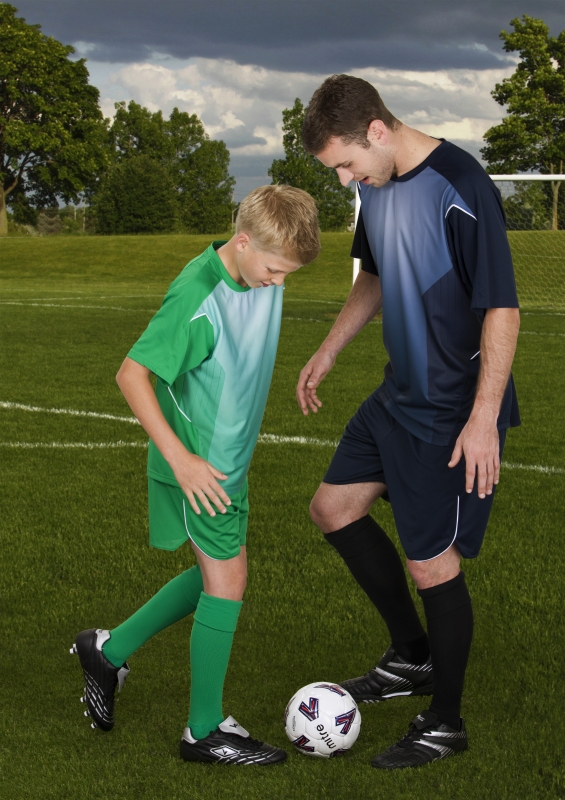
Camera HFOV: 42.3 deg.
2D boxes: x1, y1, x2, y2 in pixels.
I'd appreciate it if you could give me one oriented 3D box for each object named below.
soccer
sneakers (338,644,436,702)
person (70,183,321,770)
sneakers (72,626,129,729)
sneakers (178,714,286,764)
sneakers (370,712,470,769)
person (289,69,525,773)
[{"bbox_3d":[0.113,0.929,2.156,0.209,0.172,0.184,-5,-19,34],"label":"soccer"},{"bbox_3d":[0.376,0.945,2.567,0.389,0.161,0.135,-2,-1,-11],"label":"sneakers"},{"bbox_3d":[-0.259,0.227,2.101,0.722,1.628,0.437,1,11,6],"label":"person"},{"bbox_3d":[-0.574,0.859,2.332,0.186,0.316,0.113,-12,-4,18],"label":"sneakers"},{"bbox_3d":[-0.151,0.981,2.126,0.356,0.140,0.112,1,-10,1],"label":"sneakers"},{"bbox_3d":[0.401,0.988,2.146,0.319,0.123,0.107,-7,5,-21],"label":"sneakers"},{"bbox_3d":[0.339,0.086,2.160,0.559,1.963,0.586,0,11,1],"label":"person"}]
